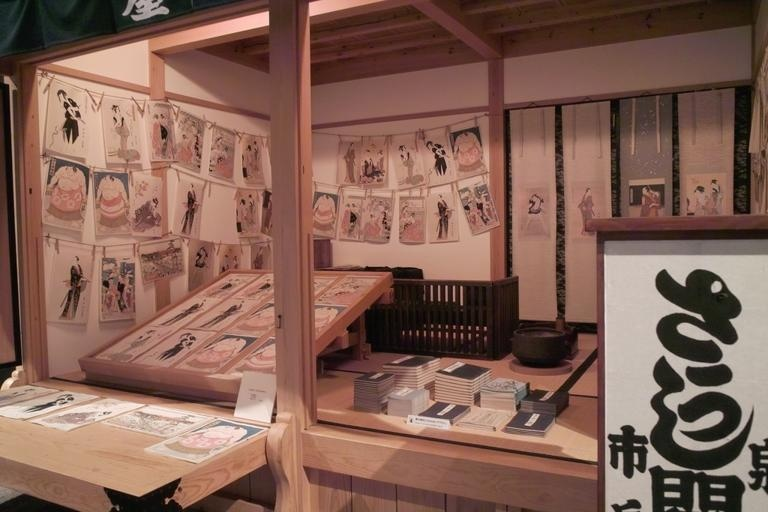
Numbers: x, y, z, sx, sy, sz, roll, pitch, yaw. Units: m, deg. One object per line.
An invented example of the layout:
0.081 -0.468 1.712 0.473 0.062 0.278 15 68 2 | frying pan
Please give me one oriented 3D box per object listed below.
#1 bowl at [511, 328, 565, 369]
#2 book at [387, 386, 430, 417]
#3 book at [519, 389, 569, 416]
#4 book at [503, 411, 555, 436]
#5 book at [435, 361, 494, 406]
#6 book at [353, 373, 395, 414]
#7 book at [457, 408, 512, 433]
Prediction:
1.157 0.698 4.094 0.377 0.267 0.359 -3 2 0 | bowl
0.145 0.896 3.354 0.162 0.103 0.222 -1 1 27 | book
0.939 0.870 3.207 0.146 0.044 0.204 1 4 29 | book
0.823 0.952 3.087 0.218 0.066 0.236 -1 2 31 | book
0.507 0.820 3.499 0.219 0.106 0.296 2 4 19 | book
-0.057 0.874 3.507 0.206 0.197 0.277 -2 2 28 | book
0.598 0.961 3.190 0.256 0.045 0.311 -1 2 33 | book
